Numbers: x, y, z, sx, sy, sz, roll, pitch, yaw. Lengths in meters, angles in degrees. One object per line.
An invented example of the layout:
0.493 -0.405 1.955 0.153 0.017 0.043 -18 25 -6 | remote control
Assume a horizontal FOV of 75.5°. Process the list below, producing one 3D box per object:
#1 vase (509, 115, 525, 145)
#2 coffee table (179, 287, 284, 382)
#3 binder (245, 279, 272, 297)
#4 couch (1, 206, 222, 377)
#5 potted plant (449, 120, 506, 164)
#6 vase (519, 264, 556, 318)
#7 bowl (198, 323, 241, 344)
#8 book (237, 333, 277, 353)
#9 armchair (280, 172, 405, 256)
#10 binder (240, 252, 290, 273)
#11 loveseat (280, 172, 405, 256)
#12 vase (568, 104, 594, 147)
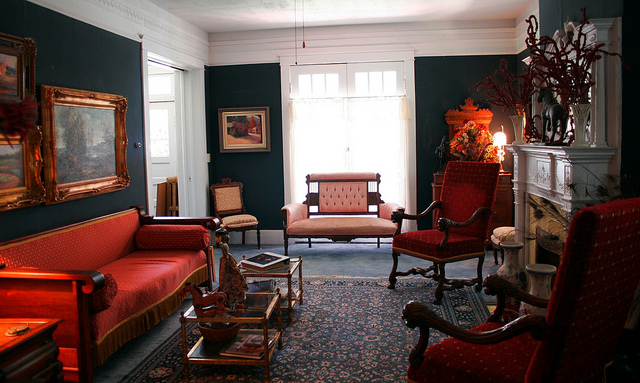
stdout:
2.633 -0.838 5.519 0.155 0.377 0.533 1 10 24 | vase
-0.885 1.406 4.445 0.829 0.674 1.047 0 8 0 | coffee table
-0.697 1.074 4.598 0.204 0.054 0.212 -1 7 6 | binder
-2.427 0.995 4.889 1.220 1.243 2.069 0 10 20 | couch
2.799 -0.846 7.639 0.882 0.854 0.877 5 6 -14 | potted plant
2.023 0.960 3.848 0.267 0.554 0.265 -7 14 -35 | vase
-1.044 1.415 4.226 0.268 0.105 0.259 1 -2 0 | bowl
-0.659 1.504 4.126 0.340 0.078 0.338 1 3 3 | book
0.377 0.407 7.531 2.176 1.418 0.955 -1 4 7 | armchair
-0.683 0.864 5.104 0.498 0.108 0.399 -11 12 -39 | binder
0.388 0.368 7.520 2.148 1.329 0.939 -1 6 7 | loveseat
2.734 -0.705 4.349 0.180 0.437 0.304 2 11 32 | vase
